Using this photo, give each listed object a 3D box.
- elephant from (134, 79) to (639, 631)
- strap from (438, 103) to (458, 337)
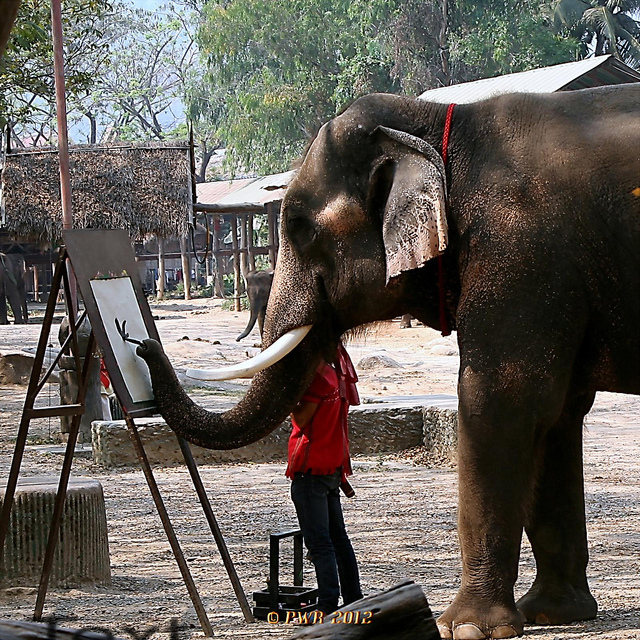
[{"bbox_3d":[0.399,0.157,4.401,1.410,1.889,0.781,3,10,26],"label":"elephant"},{"bbox_3d":[0.428,-0.310,4.368,0.099,0.672,0.084,12,27,39],"label":"strap"}]
